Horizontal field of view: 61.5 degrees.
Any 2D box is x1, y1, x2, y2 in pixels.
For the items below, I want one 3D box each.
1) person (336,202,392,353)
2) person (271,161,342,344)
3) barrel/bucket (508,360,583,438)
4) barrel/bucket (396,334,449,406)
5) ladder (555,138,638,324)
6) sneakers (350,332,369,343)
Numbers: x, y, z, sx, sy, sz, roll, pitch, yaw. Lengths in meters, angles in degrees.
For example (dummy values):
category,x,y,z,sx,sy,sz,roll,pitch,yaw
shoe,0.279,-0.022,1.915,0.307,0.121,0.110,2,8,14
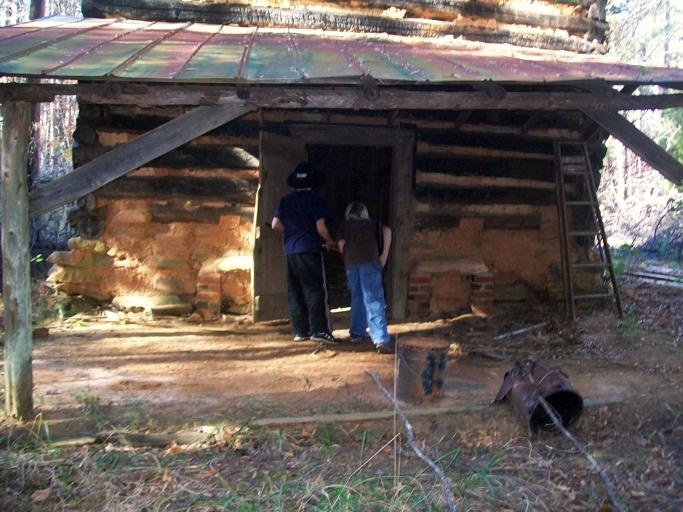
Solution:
category,x,y,z,sx,sy,sz,roll,pitch,yaw
person,0.358,0.301,7.266,0.504,1.857,0.928,-11,17,-37
person,-0.413,-0.024,7.381,0.795,2.255,0.531,12,18,41
barrel/bucket,1.832,1.330,5.450,0.775,0.524,0.475,13,19,42
barrel/bucket,0.816,1.148,6.086,0.592,0.639,0.607,1,6,0
ladder,3.728,-0.561,8.864,0.558,2.311,0.195,-6,-6,2
sneakers,0.254,1.090,7.585,0.097,0.113,0.267,-2,-7,21
